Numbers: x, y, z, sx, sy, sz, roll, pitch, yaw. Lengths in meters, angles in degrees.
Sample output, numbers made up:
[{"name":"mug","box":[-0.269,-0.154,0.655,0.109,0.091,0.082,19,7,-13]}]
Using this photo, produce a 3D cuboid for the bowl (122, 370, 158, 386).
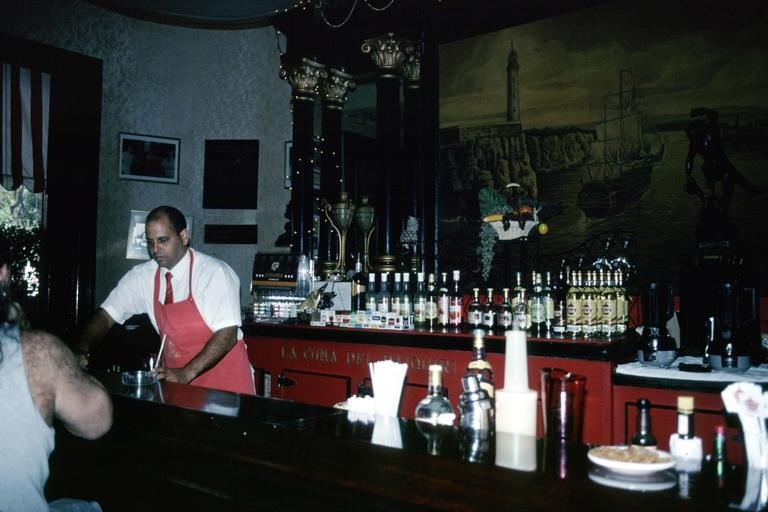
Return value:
[{"name":"bowl","box":[-1.574,0.757,4.468,0.292,0.082,0.173,1,-1,17]}]

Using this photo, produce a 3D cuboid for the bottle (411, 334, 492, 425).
[{"name":"bottle","box":[0.405,0.648,3.818,0.453,0.512,0.251,2,-1,-28]}]

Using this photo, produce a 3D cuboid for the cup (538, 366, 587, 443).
[{"name":"cup","box":[0.946,0.800,3.812,0.228,0.386,0.278,1,-1,13]}]

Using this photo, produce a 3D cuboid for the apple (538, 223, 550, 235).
[{"name":"apple","box":[1.438,-0.246,6.483,0.082,0.082,0.112,40,0,19]}]

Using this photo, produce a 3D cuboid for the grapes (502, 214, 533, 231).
[{"name":"grapes","box":[1.127,-0.290,6.080,0.255,0.145,0.081,2,-1,4]}]

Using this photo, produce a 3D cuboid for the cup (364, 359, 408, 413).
[{"name":"cup","box":[0.003,0.738,4.016,0.270,0.329,0.234,-2,-8,34]}]

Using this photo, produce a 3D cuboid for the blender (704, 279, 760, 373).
[{"name":"blender","box":[2.385,0.494,4.947,0.258,0.606,0.136,2,-1,-2]}]

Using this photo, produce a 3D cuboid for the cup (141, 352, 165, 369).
[{"name":"cup","box":[-1.514,0.686,4.610,0.085,0.086,0.173,2,-1,-26]}]

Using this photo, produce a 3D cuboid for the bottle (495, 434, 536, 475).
[{"name":"bottle","box":[0.642,0.966,3.513,0.216,0.183,0.136,-2,-3,19]}]

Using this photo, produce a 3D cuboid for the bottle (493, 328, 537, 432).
[{"name":"bottle","box":[0.668,0.634,3.632,0.209,0.528,0.194,2,-1,0]}]

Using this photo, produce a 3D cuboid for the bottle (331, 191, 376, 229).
[{"name":"bottle","box":[-0.311,-0.469,7.182,0.404,0.304,0.355,5,5,45]}]

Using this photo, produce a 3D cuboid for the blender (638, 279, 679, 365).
[{"name":"blender","box":[1.982,0.495,5.199,0.263,0.599,0.298,1,-1,19]}]

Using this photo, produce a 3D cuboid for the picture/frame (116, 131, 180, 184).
[{"name":"picture/frame","box":[-2.868,-1.158,8.509,0.671,0.541,0.052,2,-2,-28]}]
